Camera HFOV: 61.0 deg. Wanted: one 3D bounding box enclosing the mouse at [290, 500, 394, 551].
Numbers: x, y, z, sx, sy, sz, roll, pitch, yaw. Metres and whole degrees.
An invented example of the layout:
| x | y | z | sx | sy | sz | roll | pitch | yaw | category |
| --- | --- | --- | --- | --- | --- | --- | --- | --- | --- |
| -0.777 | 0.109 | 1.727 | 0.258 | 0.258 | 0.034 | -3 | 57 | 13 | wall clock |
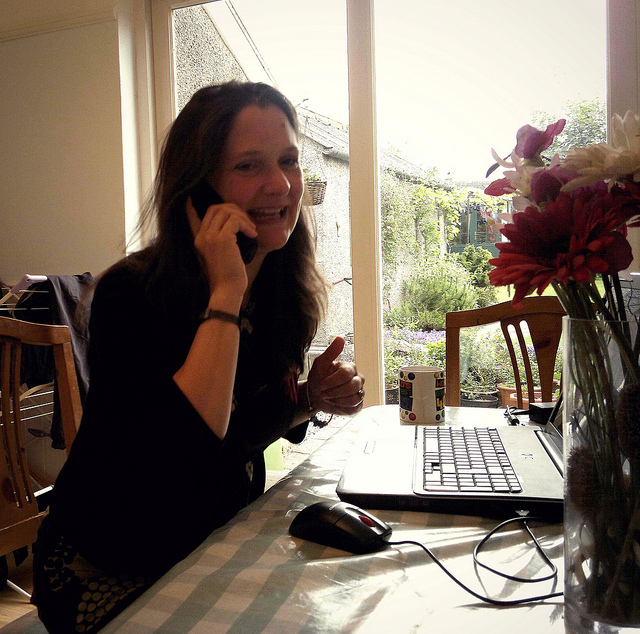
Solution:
| x | y | z | sx | sy | sz | roll | pitch | yaw | category |
| --- | --- | --- | --- | --- | --- | --- | --- | --- | --- |
| 0.018 | 0.251 | 0.689 | 0.096 | 0.035 | 0.057 | -1 | 2 | 27 | mouse |

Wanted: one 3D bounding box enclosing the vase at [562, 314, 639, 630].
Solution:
| x | y | z | sx | sy | sz | roll | pitch | yaw | category |
| --- | --- | --- | --- | --- | --- | --- | --- | --- | --- |
| 0.237 | 0.143 | 0.463 | 0.072 | 0.282 | 0.059 | 4 | 11 | 41 | vase |

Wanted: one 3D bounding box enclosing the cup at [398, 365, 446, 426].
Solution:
| x | y | z | sx | sy | sz | roll | pitch | yaw | category |
| --- | --- | --- | --- | --- | --- | --- | --- | --- | --- |
| 0.231 | 0.169 | 1.231 | 0.112 | 0.119 | 0.106 | -3 | 6 | 0 | cup |

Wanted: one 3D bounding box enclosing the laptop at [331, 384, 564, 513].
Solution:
| x | y | z | sx | sy | sz | roll | pitch | yaw | category |
| --- | --- | --- | --- | --- | --- | --- | --- | --- | --- |
| 0.221 | 0.214 | 0.889 | 0.363 | 0.071 | 0.348 | -2 | 9 | 17 | laptop |

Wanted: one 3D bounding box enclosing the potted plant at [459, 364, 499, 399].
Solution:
| x | y | z | sx | sy | sz | roll | pitch | yaw | category |
| --- | --- | --- | --- | --- | --- | --- | --- | --- | --- |
| 0.637 | 0.264 | 2.177 | 0.154 | 0.069 | 0.180 | 2 | 6 | 6 | potted plant |

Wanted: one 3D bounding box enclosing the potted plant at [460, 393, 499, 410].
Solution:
| x | y | z | sx | sy | sz | roll | pitch | yaw | category |
| --- | --- | --- | --- | --- | --- | --- | --- | --- | --- |
| 0.617 | 0.319 | 2.089 | 0.136 | 0.059 | 0.133 | -1 | 6 | -3 | potted plant |
